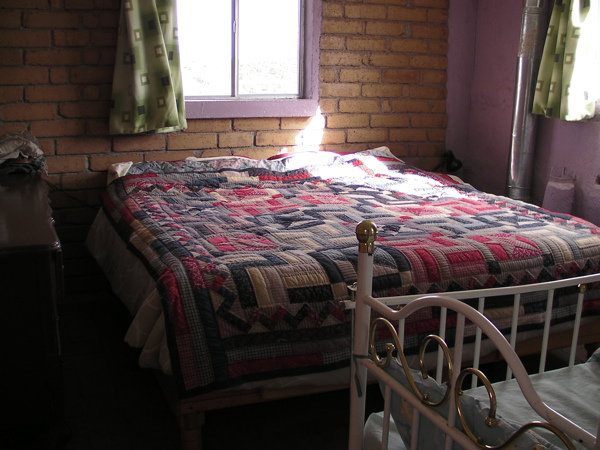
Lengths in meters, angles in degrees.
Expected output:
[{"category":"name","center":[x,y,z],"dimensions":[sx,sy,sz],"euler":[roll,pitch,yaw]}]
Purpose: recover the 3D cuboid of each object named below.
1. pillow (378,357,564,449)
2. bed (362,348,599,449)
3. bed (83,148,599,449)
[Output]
[{"category":"pillow","center":[0.329,0.407,1.020],"dimensions":[0.301,0.085,0.229],"euler":[1,11,-31]},{"category":"bed","center":[0.605,0.512,1.400],"dimensions":[0.598,0.131,0.336],"euler":[-1,5,-19]},{"category":"bed","center":[-0.092,0.055,2.513],"dimensions":[1.933,0.654,1.781],"euler":[-7,19,-24]}]
